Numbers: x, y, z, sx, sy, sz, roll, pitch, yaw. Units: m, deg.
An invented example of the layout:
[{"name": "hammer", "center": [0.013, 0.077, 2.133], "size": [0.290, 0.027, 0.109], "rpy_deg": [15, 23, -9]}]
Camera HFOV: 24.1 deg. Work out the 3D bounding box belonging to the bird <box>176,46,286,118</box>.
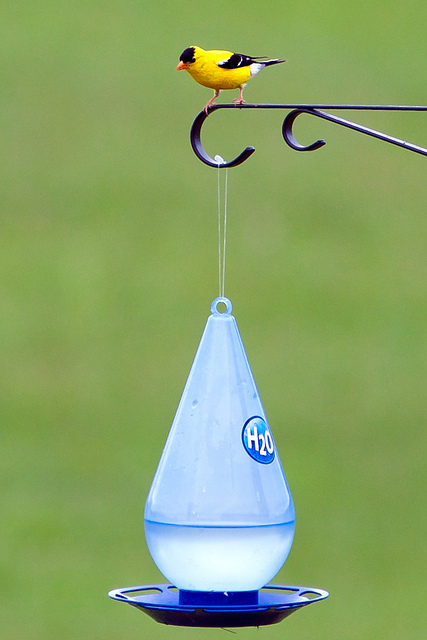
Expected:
[{"name": "bird", "center": [0.032, -0.638, 2.670], "size": [0.235, 0.225, 0.246], "rpy_deg": [22, 37, 38]}]
